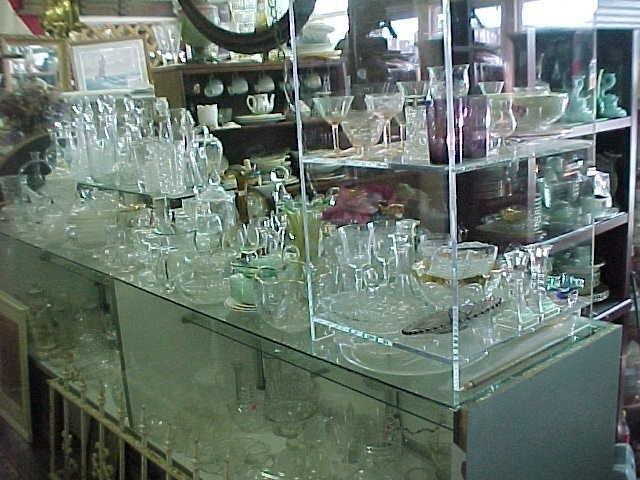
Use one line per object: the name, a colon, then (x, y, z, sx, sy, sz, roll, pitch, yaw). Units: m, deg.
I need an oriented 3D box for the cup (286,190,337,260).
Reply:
cup: (-0.024, -0.047, 1.434, 0.168, 0.189, 0.167, -1, 4, 0)

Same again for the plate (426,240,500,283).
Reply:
plate: (0.324, 0.038, 1.180, 0.117, 0.046, 0.088, -7, 9, -38)

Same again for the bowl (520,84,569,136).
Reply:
bowl: (0.553, -0.320, 1.339, 0.120, 0.084, 0.129, -2, 10, 0)

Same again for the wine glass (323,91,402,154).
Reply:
wine glass: (0.114, -0.277, 1.281, 0.150, 0.109, 0.136, -4, 12, -10)

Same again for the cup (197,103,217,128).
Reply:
cup: (-0.437, -0.486, 2.113, 0.094, 0.083, 0.072, 7, 26, 16)

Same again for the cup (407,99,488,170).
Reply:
cup: (0.279, -0.224, 1.206, 0.160, 0.139, 0.152, -3, 5, 0)

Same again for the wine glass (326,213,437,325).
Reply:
wine glass: (0.167, 0.059, 1.381, 0.254, 0.224, 0.234, 2, 10, 16)

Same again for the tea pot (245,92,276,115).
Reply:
tea pot: (-0.232, -0.531, 2.104, 0.129, 0.080, 0.076, 0, 5, 1)
